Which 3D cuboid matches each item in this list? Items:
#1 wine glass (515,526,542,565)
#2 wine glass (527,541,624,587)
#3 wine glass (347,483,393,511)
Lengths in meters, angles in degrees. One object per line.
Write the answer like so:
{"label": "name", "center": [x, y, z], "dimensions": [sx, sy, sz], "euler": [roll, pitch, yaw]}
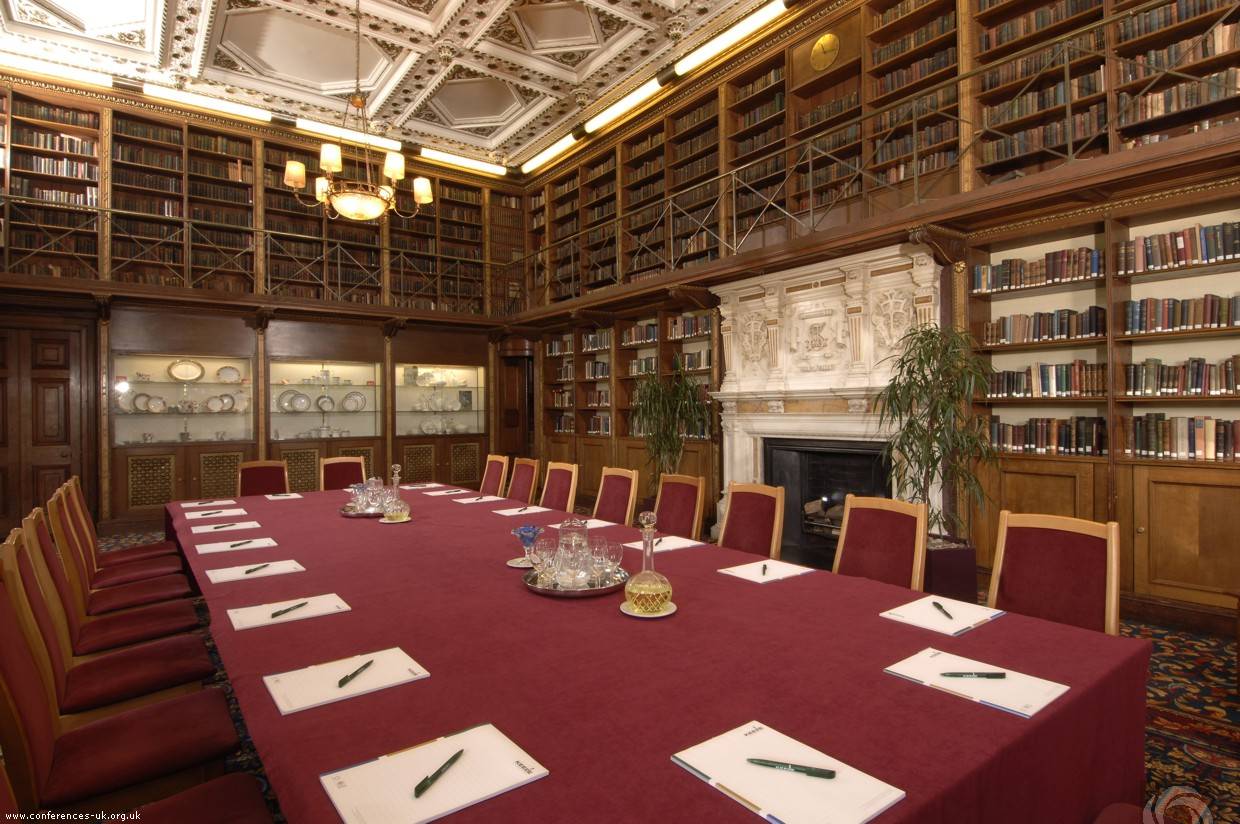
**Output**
{"label": "wine glass", "center": [-0.466, 0.727, 4.209], "dimensions": [0.193, 0.205, 0.195], "euler": [-2, 4, -2]}
{"label": "wine glass", "center": [-0.224, 0.786, 3.932], "dimensions": [0.295, 0.128, 0.297], "euler": [0, -2, -10]}
{"label": "wine glass", "center": [-1.835, 0.608, 5.691], "dimensions": [0.245, 0.178, 0.218], "euler": [1, 1, -17]}
